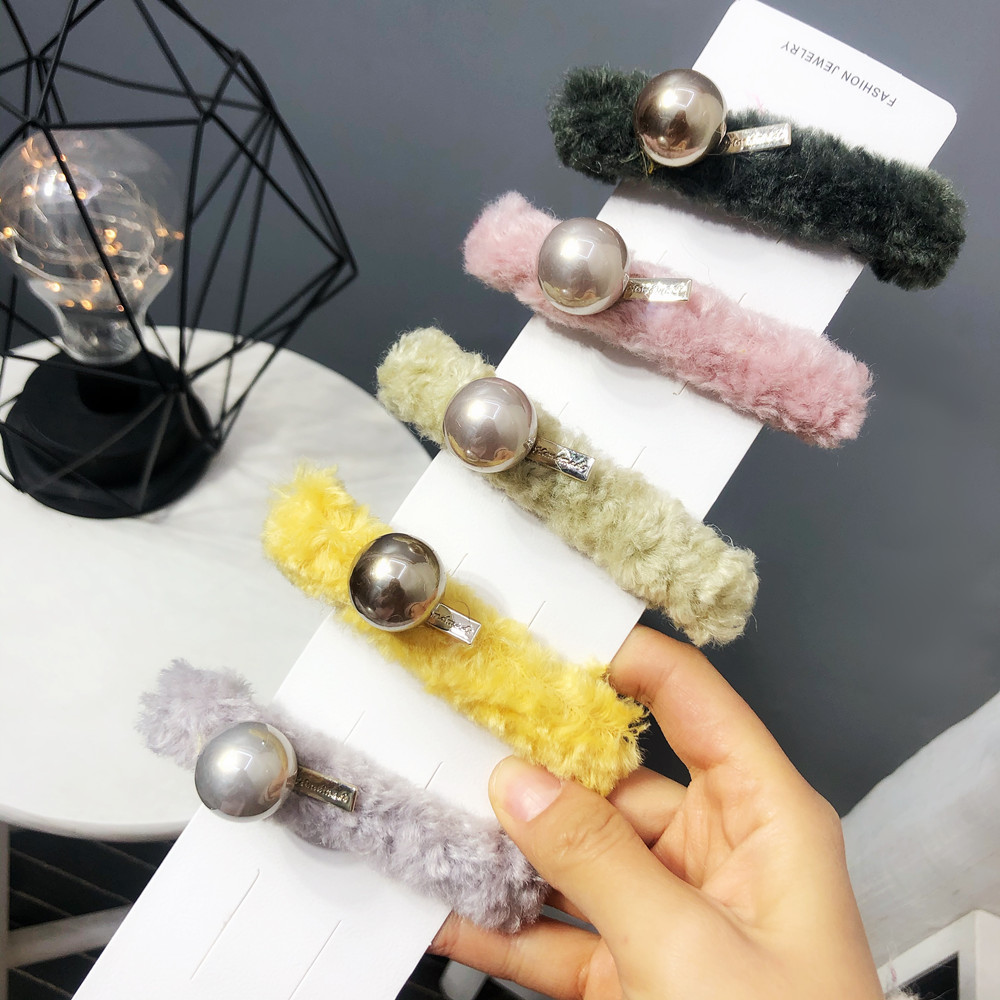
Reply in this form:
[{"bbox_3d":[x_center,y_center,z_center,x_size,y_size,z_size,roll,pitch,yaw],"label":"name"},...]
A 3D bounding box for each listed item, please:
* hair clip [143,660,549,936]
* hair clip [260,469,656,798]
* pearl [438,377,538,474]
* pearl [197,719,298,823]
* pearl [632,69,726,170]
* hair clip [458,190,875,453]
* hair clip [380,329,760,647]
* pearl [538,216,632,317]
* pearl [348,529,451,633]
[{"bbox_3d":[-0.155,0.325,1.164,0.394,0.108,0.140,26,105,4],"label":"hair clip"},{"bbox_3d":[0.010,0.214,1.189,0.327,0.086,0.110,31,114,-1],"label":"hair clip"},{"bbox_3d":[-0.012,-0.082,1.161,0.096,0.047,0.096,-34,75,-8],"label":"pearl"},{"bbox_3d":[-0.270,0.286,1.134,0.101,0.051,0.098,-14,74,-2],"label":"pearl"},{"bbox_3d":[0.195,-0.404,1.184,0.090,0.058,0.107,10,101,20],"label":"pearl"},{"bbox_3d":[0.239,-0.196,1.236,0.432,0.116,0.117,30,41,-1],"label":"hair clip"},{"bbox_3d":[0.078,-0.012,1.193,0.422,0.112,0.131,37,114,8],"label":"hair clip"},{"bbox_3d":[0.083,-0.261,1.206,0.113,0.120,0.072,3,82,33],"label":"pearl"},{"bbox_3d":[-0.116,0.093,1.153,0.102,0.074,0.125,15,49,1],"label":"pearl"}]
